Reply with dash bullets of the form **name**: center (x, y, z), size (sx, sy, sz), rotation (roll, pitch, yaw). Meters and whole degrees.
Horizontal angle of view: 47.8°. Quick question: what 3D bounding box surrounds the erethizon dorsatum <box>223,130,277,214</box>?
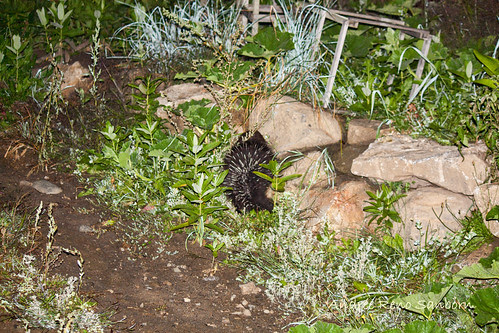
- **erethizon dorsatum**: center (-0.025, 0.156, 7.645), size (0.682, 0.683, 0.747), rotation (0, 35, 1)
